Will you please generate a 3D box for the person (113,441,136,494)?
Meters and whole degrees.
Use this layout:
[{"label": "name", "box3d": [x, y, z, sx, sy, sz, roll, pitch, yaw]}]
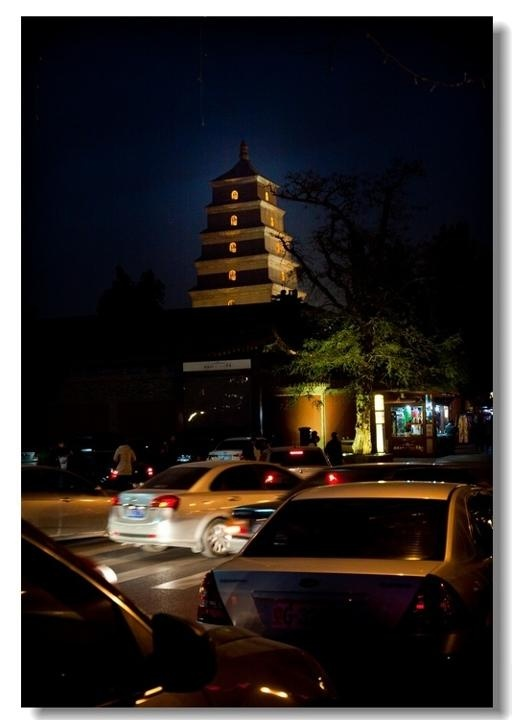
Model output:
[{"label": "person", "box3d": [-3.907, 3.083, 19.520, 0.538, 1.538, 0.454, 2, 21, -8]}]
